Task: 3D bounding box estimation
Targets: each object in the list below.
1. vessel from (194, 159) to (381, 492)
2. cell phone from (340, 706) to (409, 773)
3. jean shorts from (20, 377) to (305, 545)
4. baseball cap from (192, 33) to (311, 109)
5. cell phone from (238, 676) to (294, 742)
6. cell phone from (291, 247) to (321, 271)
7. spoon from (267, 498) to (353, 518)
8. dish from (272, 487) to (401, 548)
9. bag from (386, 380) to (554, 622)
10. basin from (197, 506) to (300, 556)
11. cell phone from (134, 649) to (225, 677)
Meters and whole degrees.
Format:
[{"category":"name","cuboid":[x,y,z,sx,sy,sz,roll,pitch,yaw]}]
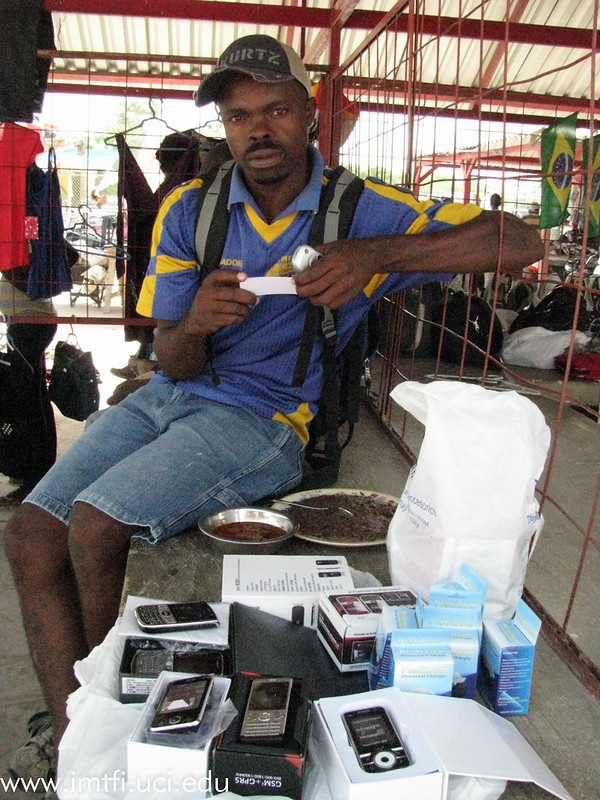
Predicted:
[{"category":"vessel","cuboid":[-0.142,-0.303,2.179,0.739,0.947,0.762,3,-2,-25]},{"category":"cell phone","cuboid":[0.105,0.469,0.842,0.036,0.058,0.059,-11,32,-5]},{"category":"jean shorts","cuboid":[-0.423,0.170,1.938,0.542,0.346,0.783,12,17,30]},{"category":"baseball cap","cuboid":[-0.154,-1.011,1.876,0.218,0.147,0.297,10,14,28]},{"category":"cell phone","cuboid":[-0.051,0.447,0.892,0.063,0.132,0.017,4,24,-12]},{"category":"cell phone","cuboid":[0.018,-0.386,1.687,0.078,0.073,0.078,2,15,-5]},{"category":"spoon","cuboid":[0.030,0.357,1.988,0.235,0.024,0.034,5,8,13]},{"category":"dish","cuboid":[0.126,0.366,1.974,0.398,0.391,0.055,-8,49,14]},{"category":"bag","cuboid":[0.356,0.212,1.311,0.349,0.491,0.317,15,15,35]},{"category":"basin","cuboid":[-0.155,0.383,1.732,0.279,0.079,0.210,4,15,3]},{"category":"cell phone","cuboid":[-0.202,0.456,1.032,0.123,0.018,0.057,5,8,-7]}]
